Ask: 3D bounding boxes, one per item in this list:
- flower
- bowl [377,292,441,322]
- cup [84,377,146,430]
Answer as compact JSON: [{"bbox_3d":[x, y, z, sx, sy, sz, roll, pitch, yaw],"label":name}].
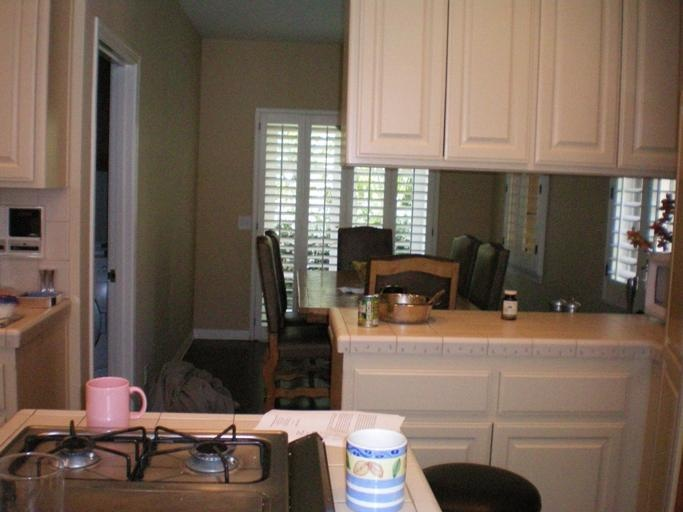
[{"bbox_3d":[1.374,-0.151,2.641,0.186,0.273,0.165,1,4,25],"label":"flower"},{"bbox_3d":[0.278,0.214,2.510,0.190,0.076,0.153,1,1,-6],"label":"bowl"},{"bbox_3d":[-0.550,0.373,1.540,0.194,0.146,0.121,7,-7,-36],"label":"cup"}]
